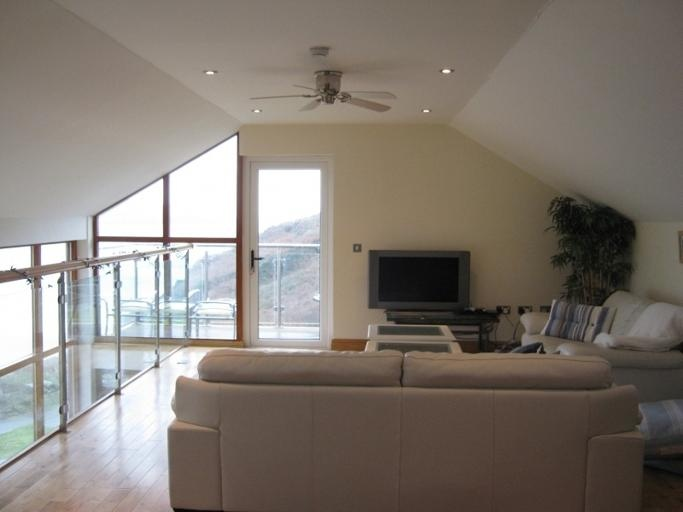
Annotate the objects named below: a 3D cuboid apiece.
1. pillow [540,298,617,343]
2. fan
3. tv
[{"bbox_3d":[2.321,0.651,5.414,0.133,0.366,0.530,29,-13,-34],"label":"pillow"},{"bbox_3d":[0.047,-1.394,4.780,0.671,0.143,0.654,2,8,17],"label":"fan"},{"bbox_3d":[0.917,0.285,6.524,1.181,0.714,0.096,1,-1,-1],"label":"tv"}]
